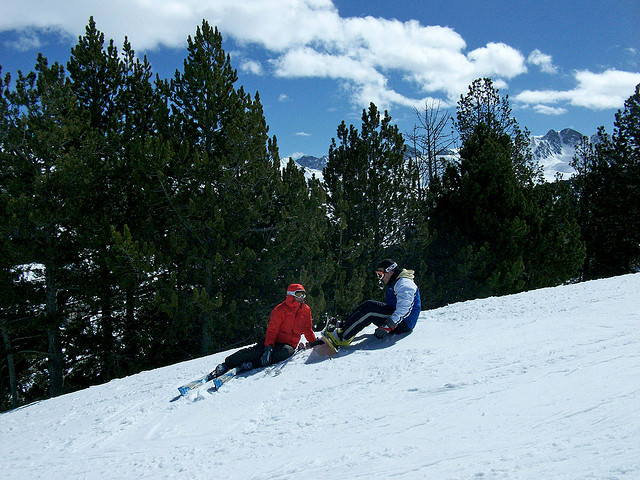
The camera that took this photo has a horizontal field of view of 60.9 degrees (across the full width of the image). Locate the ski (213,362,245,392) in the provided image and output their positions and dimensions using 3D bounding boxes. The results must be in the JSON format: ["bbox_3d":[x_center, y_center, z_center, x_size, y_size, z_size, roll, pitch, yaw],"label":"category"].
[{"bbox_3d":[-1.905,2.899,11.506,0.146,0.242,0.693,-13,-3,17],"label":"ski"}]

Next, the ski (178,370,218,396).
[{"bbox_3d":[-2.579,2.995,11.429,0.259,0.240,0.918,14,24,29],"label":"ski"}]

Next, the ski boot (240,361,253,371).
[{"bbox_3d":[-1.588,2.723,11.831,0.153,0.230,0.211,4,-4,-34],"label":"ski boot"}]
